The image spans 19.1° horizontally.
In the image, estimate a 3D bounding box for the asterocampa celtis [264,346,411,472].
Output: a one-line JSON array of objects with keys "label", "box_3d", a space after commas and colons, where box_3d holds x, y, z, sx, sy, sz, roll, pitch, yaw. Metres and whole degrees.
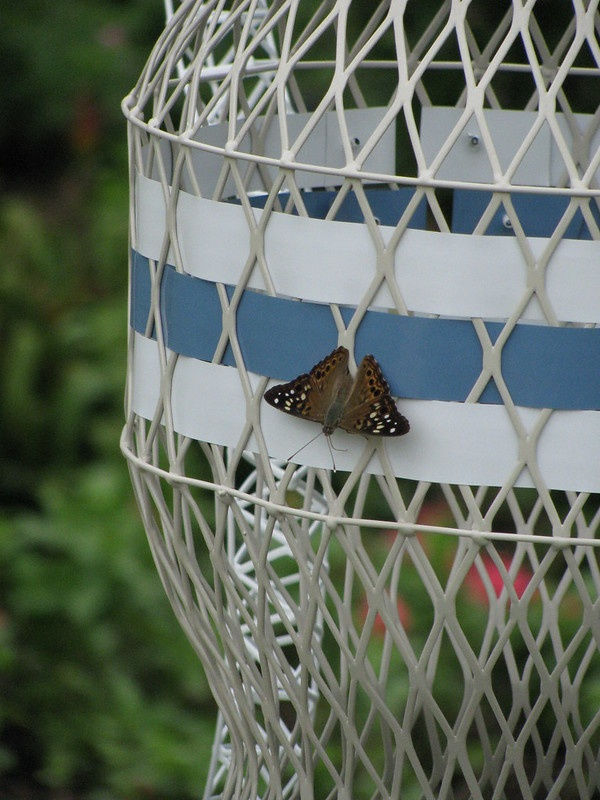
[{"label": "asterocampa celtis", "box_3d": [0.035, -0.005, 1.476, 0.081, 0.097, 0.041, 13, -4, 20]}]
